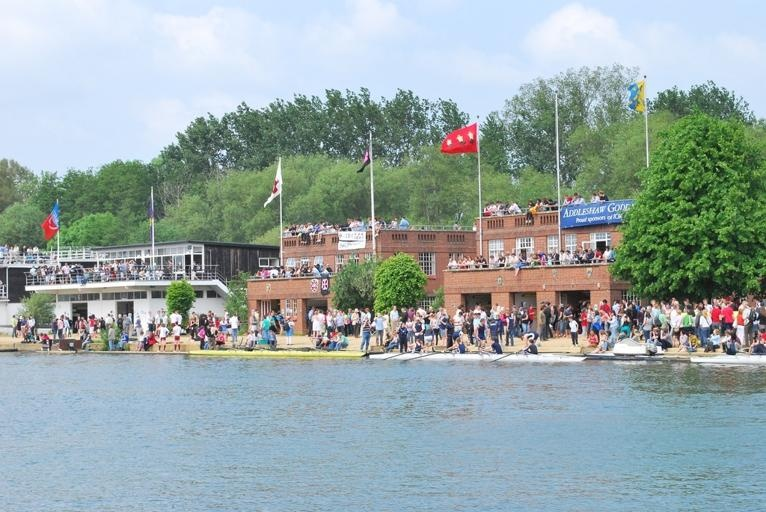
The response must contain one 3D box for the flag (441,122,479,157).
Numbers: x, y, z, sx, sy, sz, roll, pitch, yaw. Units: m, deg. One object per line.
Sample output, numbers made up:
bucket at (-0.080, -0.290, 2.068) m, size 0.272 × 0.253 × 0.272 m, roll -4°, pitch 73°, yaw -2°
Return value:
flag at (6.063, -9.057, 148.229) m, size 2.552 × 2.286 × 6.208 m, roll -2°, pitch -5°, yaw 4°
